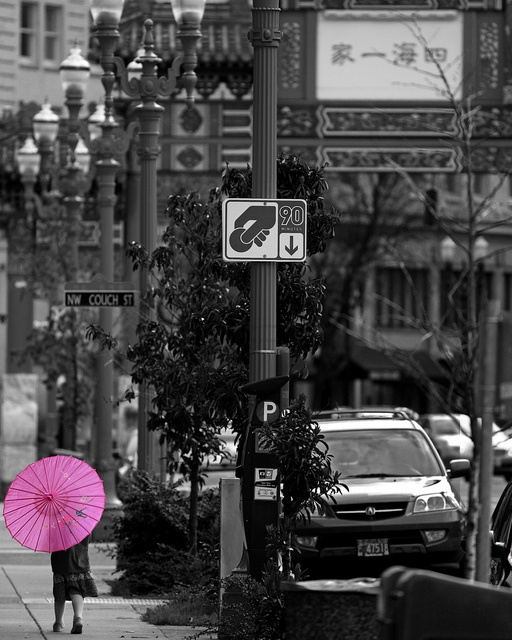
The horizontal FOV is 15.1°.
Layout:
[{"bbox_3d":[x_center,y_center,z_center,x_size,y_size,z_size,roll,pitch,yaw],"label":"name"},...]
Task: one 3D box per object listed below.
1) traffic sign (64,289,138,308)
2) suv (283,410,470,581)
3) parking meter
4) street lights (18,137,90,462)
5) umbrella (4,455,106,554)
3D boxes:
[{"bbox_3d":[-1.519,-0.184,18.729,0.682,0.176,0.290,2,1,-5],"label":"traffic sign"},{"bbox_3d":[1.072,1.754,18.283,1.636,1.846,3.305,-2,-7,2],"label":"suv"},{"bbox_3d":[0.028,1.160,13.873,0.342,1.028,0.377,1,1,10],"label":"parking meter"},{"bbox_3d":[-2.955,0.370,28.195,0.586,7.192,0.905,-1,-3,-20],"label":"street lights"},{"bbox_3d":[-1.551,1.443,14.862,0.740,0.455,0.408,2,1,-6],"label":"umbrella"}]
